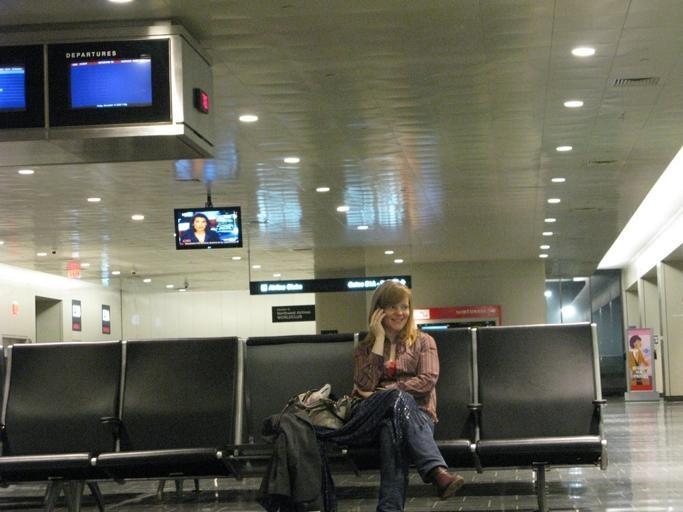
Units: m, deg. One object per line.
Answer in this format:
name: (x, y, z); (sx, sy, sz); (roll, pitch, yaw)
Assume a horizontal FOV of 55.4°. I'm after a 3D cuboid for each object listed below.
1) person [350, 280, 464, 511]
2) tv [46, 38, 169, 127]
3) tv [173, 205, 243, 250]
person: (0.361, 0.726, 3.981); (0.580, 1.269, 0.965); (-1, -10, 0)
tv: (-1.691, -1.242, 4.754); (0.641, 0.460, 0.066); (-3, -10, 4)
tv: (-2.033, -0.448, 9.943); (0.736, 0.464, 0.078); (-2, -9, 2)
